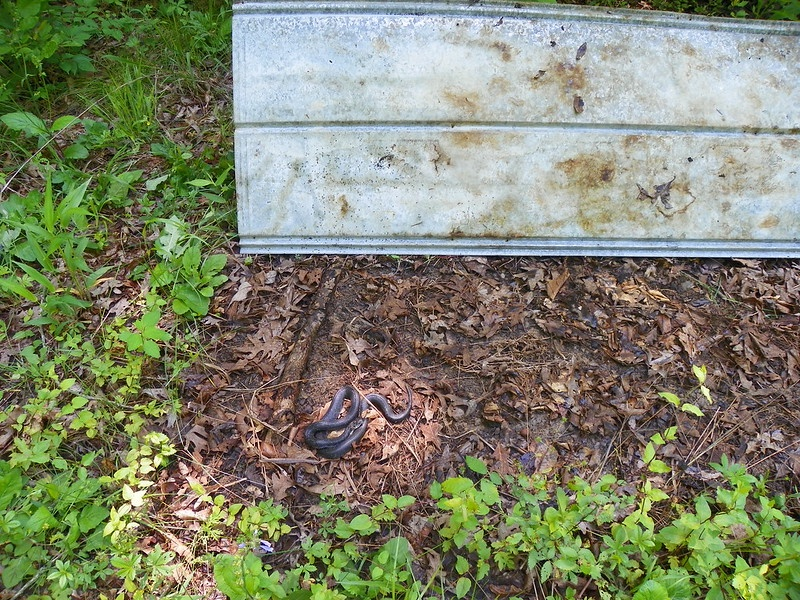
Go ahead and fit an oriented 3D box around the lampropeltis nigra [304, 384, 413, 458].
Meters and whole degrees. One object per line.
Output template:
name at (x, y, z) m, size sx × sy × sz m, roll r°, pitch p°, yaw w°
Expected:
lampropeltis nigra at (-0.385, 0.949, 5.281) m, size 0.895 × 0.208 × 0.480 m, roll -28°, pitch 84°, yaw -5°
